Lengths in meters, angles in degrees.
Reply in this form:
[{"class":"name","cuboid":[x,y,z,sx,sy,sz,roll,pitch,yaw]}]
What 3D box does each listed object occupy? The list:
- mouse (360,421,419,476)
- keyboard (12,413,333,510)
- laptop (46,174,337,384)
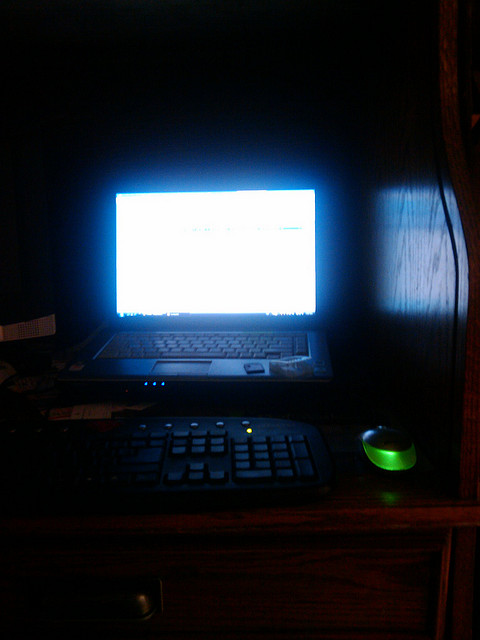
[{"class":"mouse","cuboid":[0.165,0.144,0.609,0.057,0.035,0.087,1,5,-3]},{"class":"keyboard","cuboid":[-0.075,0.146,0.589,0.330,0.066,0.148,-2,-2,-1]},{"class":"laptop","cuboid":[-0.028,-0.079,0.974,0.355,0.281,0.261,1,-15,12]}]
